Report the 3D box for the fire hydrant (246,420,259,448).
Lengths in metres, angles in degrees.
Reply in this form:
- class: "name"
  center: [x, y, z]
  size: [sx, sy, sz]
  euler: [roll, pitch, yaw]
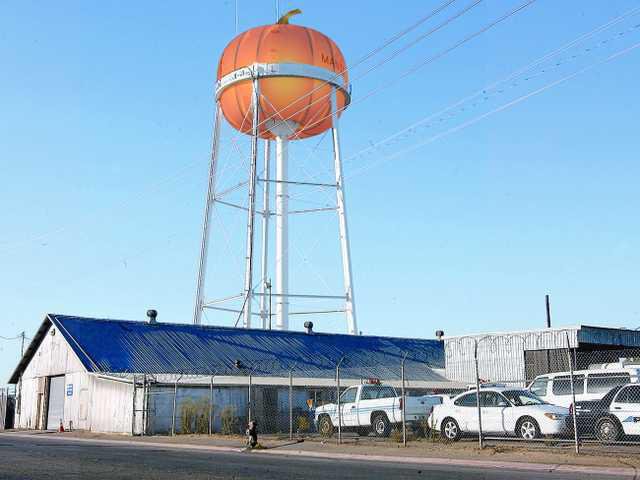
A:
- class: "fire hydrant"
  center: [-2.523, 7.245, 28.694]
  size: [0.513, 0.637, 0.964]
  euler: [3, 0, -5]
